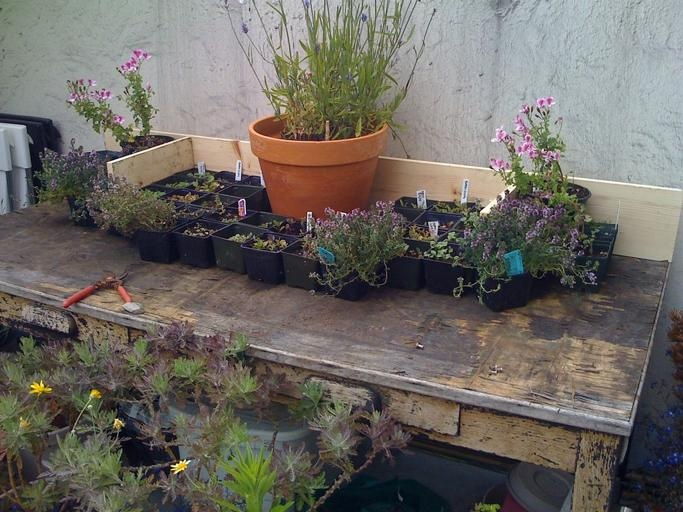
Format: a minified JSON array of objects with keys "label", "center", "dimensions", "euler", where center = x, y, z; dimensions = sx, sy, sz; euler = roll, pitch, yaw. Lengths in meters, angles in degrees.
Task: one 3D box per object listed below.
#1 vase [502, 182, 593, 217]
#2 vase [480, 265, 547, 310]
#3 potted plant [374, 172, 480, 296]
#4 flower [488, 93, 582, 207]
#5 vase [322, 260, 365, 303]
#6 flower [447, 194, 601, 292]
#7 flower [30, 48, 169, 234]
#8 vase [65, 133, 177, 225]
[{"label":"vase","center":[0.866,-0.288,2.475],"dimensions":[0.354,0.148,0.417],"euler":[6,18,32]},{"label":"vase","center":[0.671,0.139,2.204],"dimensions":[0.186,0.153,0.195],"euler":[-16,25,-35]},{"label":"potted plant","center":[0.377,-0.073,2.521],"dimensions":[0.514,0.518,0.519],"euler":[12,23,35]},{"label":"flower","center":[0.863,-0.494,2.497],"dimensions":[0.361,0.435,0.640],"euler":[3,18,15]},{"label":"vase","center":[0.016,0.100,2.290],"dimensions":[0.168,0.147,0.216],"euler":[12,24,31]},{"label":"flower","center":[0.682,-0.079,2.303],"dimensions":[0.712,0.380,0.620],"euler":[6,20,18]},{"label":"flower","center":[-1.357,-0.666,3.125],"dimensions":[0.598,1.133,0.582],"euler":[7,25,26]},{"label":"vase","center":[-1.379,-0.445,3.172],"dimensions":[0.600,0.575,0.524],"euler":[14,28,32]}]
